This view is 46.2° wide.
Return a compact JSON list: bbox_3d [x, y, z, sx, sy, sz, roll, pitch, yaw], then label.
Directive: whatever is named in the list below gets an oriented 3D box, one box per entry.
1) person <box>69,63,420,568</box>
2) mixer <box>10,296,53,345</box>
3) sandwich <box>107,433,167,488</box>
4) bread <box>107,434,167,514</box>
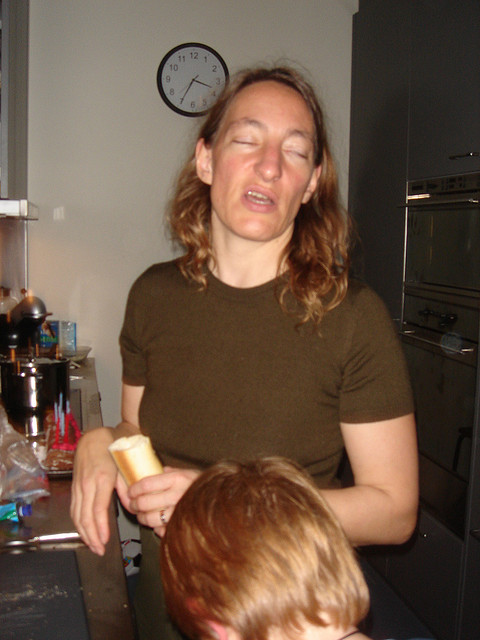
[{"bbox_3d":[0.016,-0.051,1.024,0.559,0.829,0.493,0,6,10],"label":"person"},{"bbox_3d":[-0.865,0.002,2.296,0.132,0.203,0.167,-3,6,-21],"label":"mixer"},{"bbox_3d":[-0.154,0.194,0.832,0.049,0.084,0.060,-27,39,-26],"label":"sandwich"},{"bbox_3d":[-0.177,0.230,0.831,0.080,0.126,0.072,-1,-9,11],"label":"bread"}]
